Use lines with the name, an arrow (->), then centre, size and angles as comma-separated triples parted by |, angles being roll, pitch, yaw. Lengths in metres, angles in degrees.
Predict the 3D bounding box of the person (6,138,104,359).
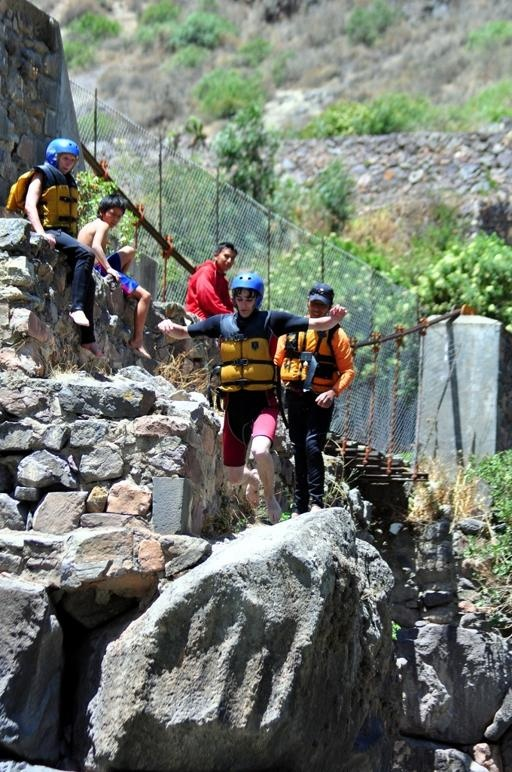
person -> -1.234, -0.909, 4.691 | 0.537, 1.254, 0.774 | 3, 0, -24

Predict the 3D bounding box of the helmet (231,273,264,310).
helmet -> -0.049, -0.513, 4.155 | 0.131, 0.192, 0.164 | 0, 36, 5

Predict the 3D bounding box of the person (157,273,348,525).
person -> -0.010, 0.073, 4.243 | 0.941, 1.324, 0.464 | 3, 0, 21
